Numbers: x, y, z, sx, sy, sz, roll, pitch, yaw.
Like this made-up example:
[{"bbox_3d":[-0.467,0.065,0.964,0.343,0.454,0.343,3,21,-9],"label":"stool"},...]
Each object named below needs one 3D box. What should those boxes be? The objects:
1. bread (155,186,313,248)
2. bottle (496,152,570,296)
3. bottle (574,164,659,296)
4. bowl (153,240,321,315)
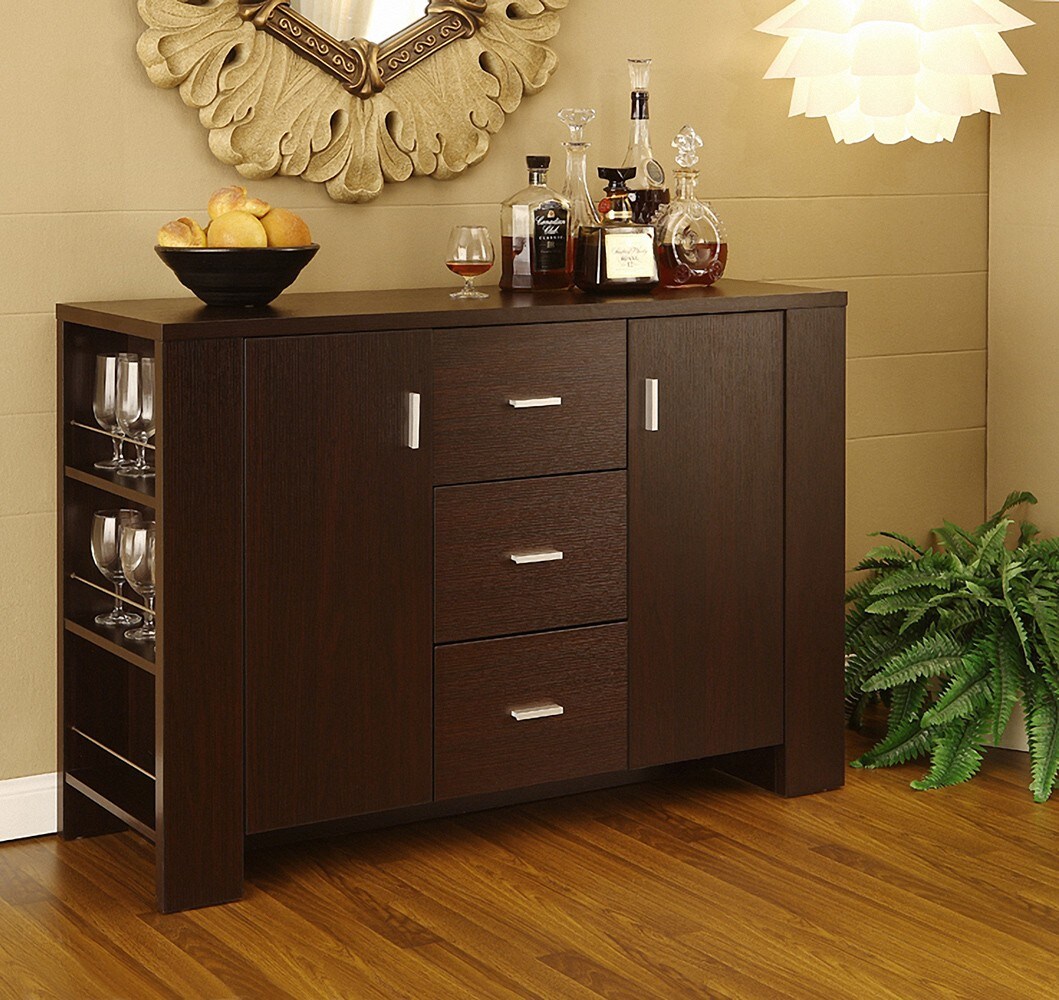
[{"bbox_3d":[-0.501,-0.471,1.787,0.167,0.070,0.169,-4,11,-14],"label":"bread"},{"bbox_3d":[0.010,-0.562,2.139,0.140,0.258,0.095,-1,2,0],"label":"bottle"},{"bbox_3d":[0.183,-0.557,2.169,0.172,0.279,0.184,-1,2,0],"label":"bottle"},{"bbox_3d":[-0.491,-0.374,1.743,0.256,0.111,0.136,-2,2,-21],"label":"bowl"}]
